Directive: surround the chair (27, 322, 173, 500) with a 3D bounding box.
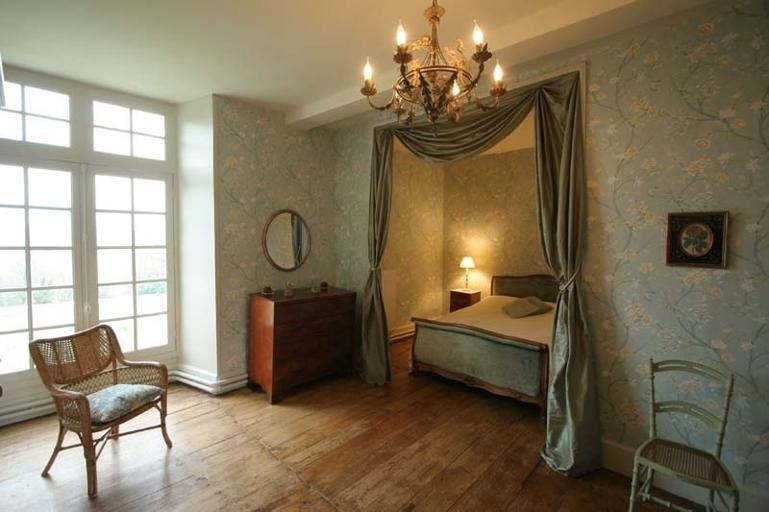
[{"bbox_3d":[-2.593,1.333,4.956,0.895,1.222,0.934,5,9,12],"label":"chair"}]

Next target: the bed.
[{"bbox_3d":[1.538,0.955,6.693,1.198,0.917,1.920,-1,0,33],"label":"bed"}]

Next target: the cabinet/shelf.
[{"bbox_3d":[-0.983,0.960,6.367,1.156,1.098,0.634,-5,9,-43],"label":"cabinet/shelf"}]

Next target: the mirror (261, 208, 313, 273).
[{"bbox_3d":[-1.200,-0.205,6.454,0.064,0.914,0.788,4,2,44],"label":"mirror"}]

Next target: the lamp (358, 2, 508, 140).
[{"bbox_3d":[0.476,-1.648,4.752,1.088,1.100,1.722,-3,4,12],"label":"lamp"}]

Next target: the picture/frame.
[{"bbox_3d":[2.633,-0.148,4.566,0.441,0.515,0.059,2,-17,29],"label":"picture/frame"}]
